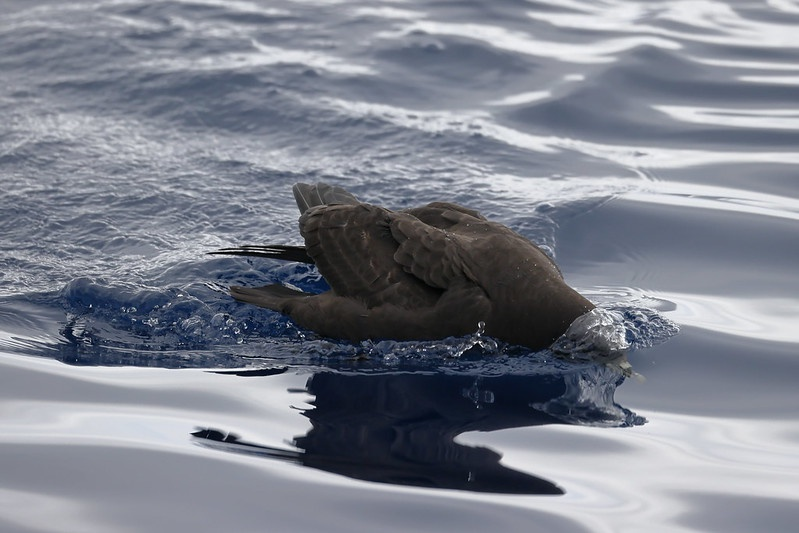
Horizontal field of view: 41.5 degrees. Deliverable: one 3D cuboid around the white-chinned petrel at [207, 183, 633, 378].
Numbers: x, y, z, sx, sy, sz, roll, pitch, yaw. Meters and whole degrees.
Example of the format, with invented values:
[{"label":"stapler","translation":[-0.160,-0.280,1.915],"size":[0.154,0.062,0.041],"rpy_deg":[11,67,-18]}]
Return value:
[{"label":"white-chinned petrel","translation":[0.306,0.262,11.239],"size":[4.277,0.835,1.980],"rpy_deg":[18,15,15]}]
